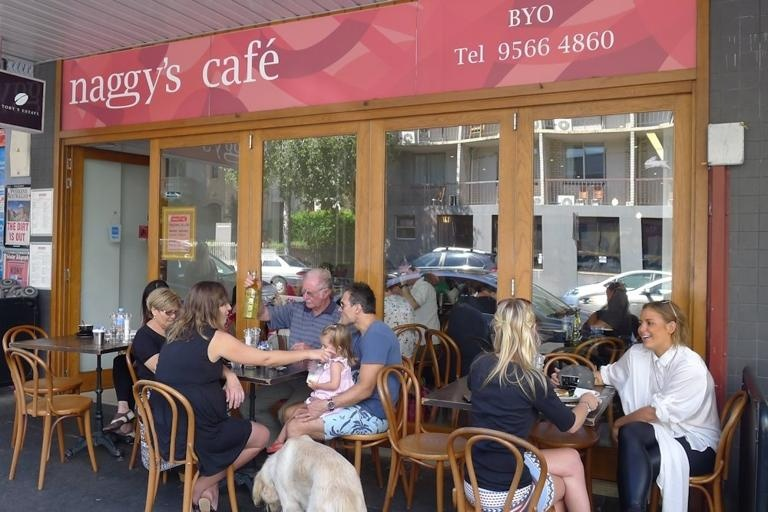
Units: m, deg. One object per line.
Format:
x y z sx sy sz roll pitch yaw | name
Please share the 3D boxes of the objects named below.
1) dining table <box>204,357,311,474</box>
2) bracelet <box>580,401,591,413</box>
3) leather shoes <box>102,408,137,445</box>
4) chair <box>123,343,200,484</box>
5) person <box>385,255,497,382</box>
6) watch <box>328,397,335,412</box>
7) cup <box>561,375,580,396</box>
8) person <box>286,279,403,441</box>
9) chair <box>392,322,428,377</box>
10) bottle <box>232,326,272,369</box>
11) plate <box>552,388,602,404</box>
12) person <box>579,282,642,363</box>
-1.090 1.309 5.743 0.727 0.779 0.750 0 -1 29 | dining table
1.446 1.070 4.761 0.054 0.085 0.081 4 -9 23 | bracelet
-2.634 1.640 6.378 0.181 0.244 0.516 -5 -12 26 | leather shoes
-1.707 1.358 5.176 0.602 0.852 0.335 -1 1 19 | chair
0.690 0.570 6.743 1.036 1.110 0.808 4 -1 19 | person
-0.411 1.184 5.378 0.060 0.086 0.080 -4 -40 -3 | watch
1.430 0.987 5.128 0.142 0.148 0.105 -5 -13 36 | cup
-0.407 1.003 5.635 0.999 1.552 0.702 5 -7 -10 | person
0.286 0.874 6.418 0.426 0.640 0.423 -1 5 -4 | chair
-1.261 0.848 6.276 0.328 0.462 0.315 0 -3 0 | bottle
1.453 1.047 5.028 0.242 0.044 0.185 -1 6 6 | plate
2.032 0.491 6.071 0.496 0.750 0.536 9 30 26 | person
